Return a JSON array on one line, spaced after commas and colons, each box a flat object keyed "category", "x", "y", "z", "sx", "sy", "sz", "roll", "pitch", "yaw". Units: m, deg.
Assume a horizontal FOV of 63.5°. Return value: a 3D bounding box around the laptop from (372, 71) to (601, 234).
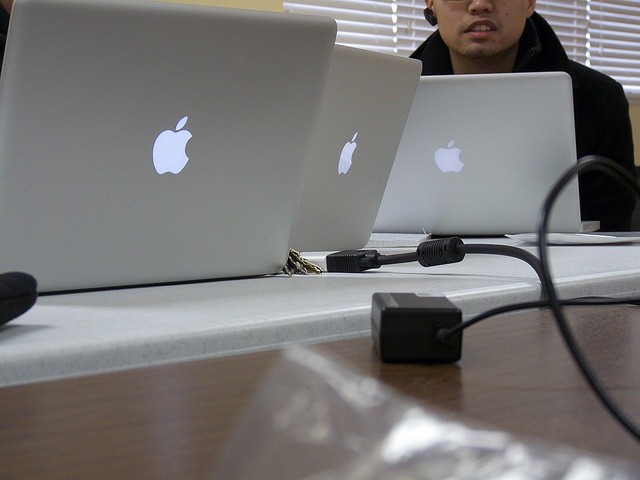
[{"category": "laptop", "x": 0.374, "y": -0.186, "z": 1.190, "sx": 0.430, "sy": 0.366, "sz": 0.341, "roll": -1, "pitch": 9, "yaw": 14}]
